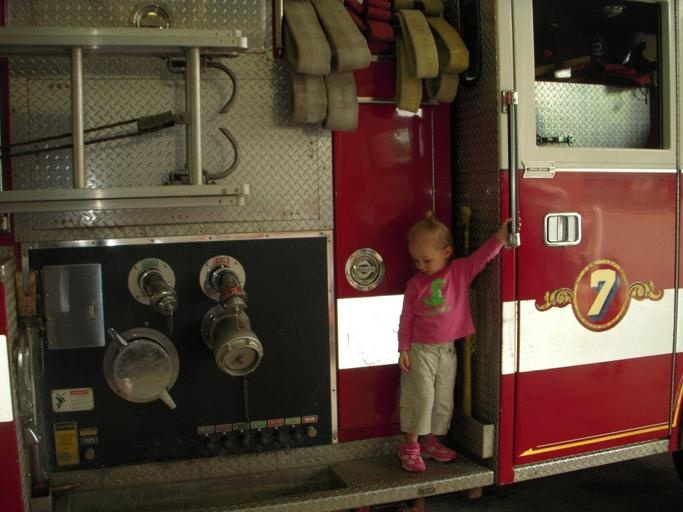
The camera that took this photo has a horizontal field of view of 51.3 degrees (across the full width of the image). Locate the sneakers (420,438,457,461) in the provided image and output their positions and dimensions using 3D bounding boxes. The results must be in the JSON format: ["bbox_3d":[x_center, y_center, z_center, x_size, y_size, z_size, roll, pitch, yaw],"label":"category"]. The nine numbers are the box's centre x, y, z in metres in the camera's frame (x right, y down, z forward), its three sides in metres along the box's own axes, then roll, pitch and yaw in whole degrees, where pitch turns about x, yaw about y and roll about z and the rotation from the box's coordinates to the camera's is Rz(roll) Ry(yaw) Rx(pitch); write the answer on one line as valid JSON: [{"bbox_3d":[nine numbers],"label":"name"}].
[{"bbox_3d":[0.618,1.253,4.653,0.264,0.141,0.108,1,2,19],"label":"sneakers"}]

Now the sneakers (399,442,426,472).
[{"bbox_3d":[0.452,1.265,4.461,0.101,0.102,0.208,1,-6,-15],"label":"sneakers"}]
